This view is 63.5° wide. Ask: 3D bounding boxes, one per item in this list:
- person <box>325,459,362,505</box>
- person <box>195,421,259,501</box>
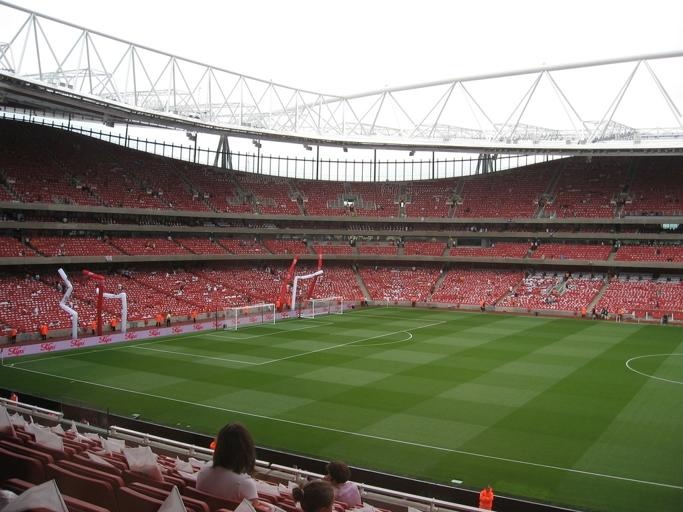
[{"bbox_3d":[0.078,4.906,11.997,0.941,1.009,0.576,8,-5,-12],"label":"person"},{"bbox_3d":[-2.019,3.749,10.161,1.183,1.437,0.519,7,-5,5],"label":"person"}]
